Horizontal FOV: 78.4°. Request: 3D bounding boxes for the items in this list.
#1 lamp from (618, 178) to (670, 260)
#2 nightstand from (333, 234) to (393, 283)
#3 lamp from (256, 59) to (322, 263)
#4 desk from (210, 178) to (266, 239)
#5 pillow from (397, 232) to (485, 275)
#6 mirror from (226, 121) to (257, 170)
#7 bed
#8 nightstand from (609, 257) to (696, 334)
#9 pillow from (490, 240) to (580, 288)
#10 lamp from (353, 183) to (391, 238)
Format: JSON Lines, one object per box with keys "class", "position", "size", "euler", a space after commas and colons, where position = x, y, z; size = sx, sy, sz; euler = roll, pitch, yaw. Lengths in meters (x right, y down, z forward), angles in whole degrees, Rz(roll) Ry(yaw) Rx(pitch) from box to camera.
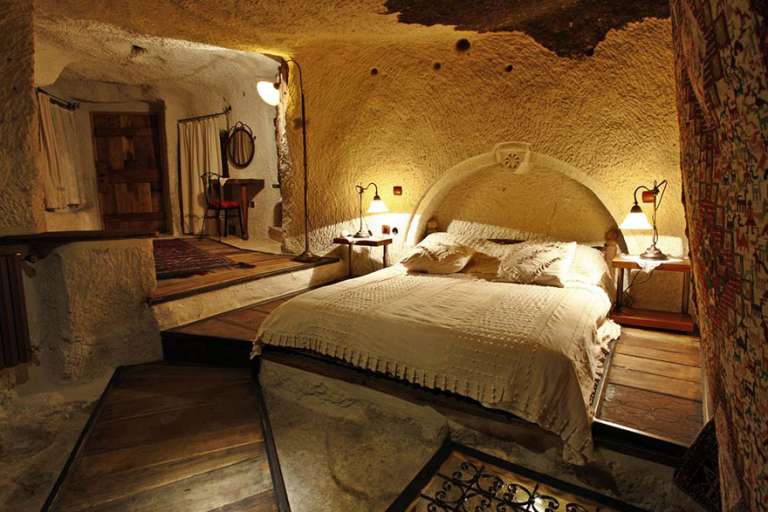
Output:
{"class": "lamp", "position": [2.059, -0.301, 3.701], "size": [0.364, 0.616, 0.425], "euler": [10, 12, 25]}
{"class": "nightstand", "position": [-0.232, 0.030, 4.814], "size": [0.783, 0.561, 0.359], "euler": [1, -2, -3]}
{"class": "lamp", "position": [-0.977, -1.047, 5.054], "size": [0.957, 2.124, 0.294], "euler": [13, 14, 37]}
{"class": "desk", "position": [-2.133, -0.723, 6.928], "size": [0.973, 0.522, 0.381], "euler": [7, 11, 43]}
{"class": "pillow", "position": [0.536, -0.028, 4.208], "size": [0.448, 0.149, 0.480], "euler": [1, 20, 33]}
{"class": "mirror", "position": [-2.076, -1.642, 6.888], "size": [0.698, 0.766, 0.059], "euler": [15, 26, 29]}
{"class": "bed", "position": [0.524, 0.447, 3.514], "size": [2.178, 0.898, 1.951], "euler": [8, 10, 26]}
{"class": "nightstand", "position": [2.130, 0.320, 3.731], "size": [0.634, 0.505, 0.330], "euler": [3, 9, 29]}
{"class": "pillow", "position": [1.156, 0.080, 3.712], "size": [0.467, 0.132, 0.442], "euler": [2, 40, 40]}
{"class": "lamp", "position": [-0.136, -0.458, 4.793], "size": [0.351, 0.577, 0.472], "euler": [4, 10, -5]}
